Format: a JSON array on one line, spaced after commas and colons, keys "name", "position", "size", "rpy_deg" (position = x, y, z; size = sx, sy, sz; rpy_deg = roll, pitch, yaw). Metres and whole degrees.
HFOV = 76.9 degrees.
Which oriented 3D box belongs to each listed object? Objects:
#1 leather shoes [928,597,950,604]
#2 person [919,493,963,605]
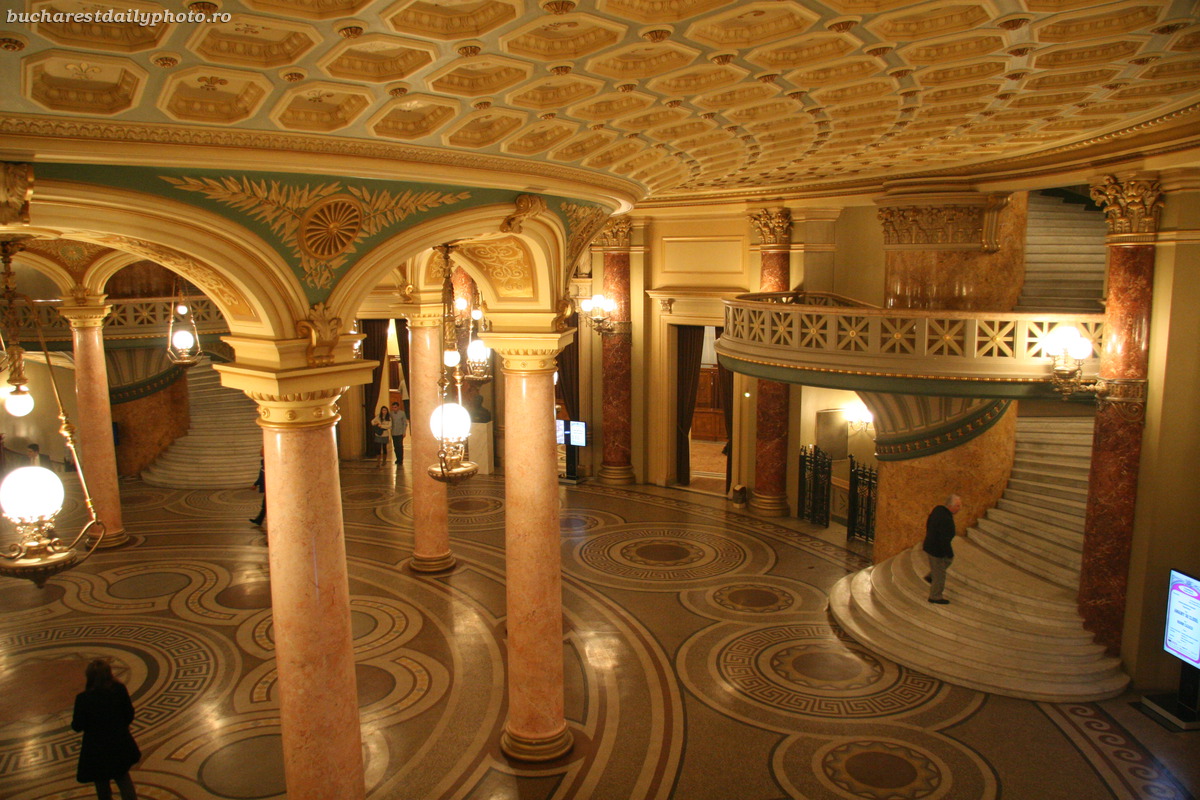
[{"name": "leather shoes", "position": [4.884, 2.882, 10.800], "size": [0.324, 0.108, 0.099], "rpy_deg": [-1, 13, 1]}, {"name": "person", "position": [4.941, 2.081, 10.919], "size": [0.406, 1.557, 0.778], "rpy_deg": [7, 16, 23]}]
